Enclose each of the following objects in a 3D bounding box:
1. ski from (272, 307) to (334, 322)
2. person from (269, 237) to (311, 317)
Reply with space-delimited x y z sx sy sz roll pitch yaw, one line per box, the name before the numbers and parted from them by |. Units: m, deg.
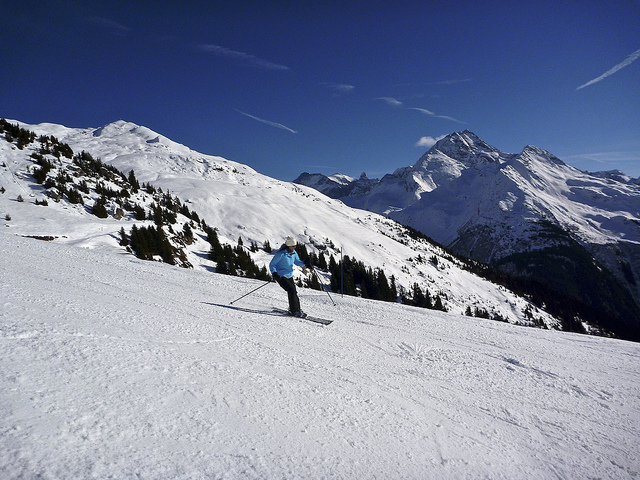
ski | -0.506 2.059 12.729 1.196 0.061 0.143 11 2 29
person | -0.828 0.932 12.931 1.024 2.096 0.777 16 17 41
